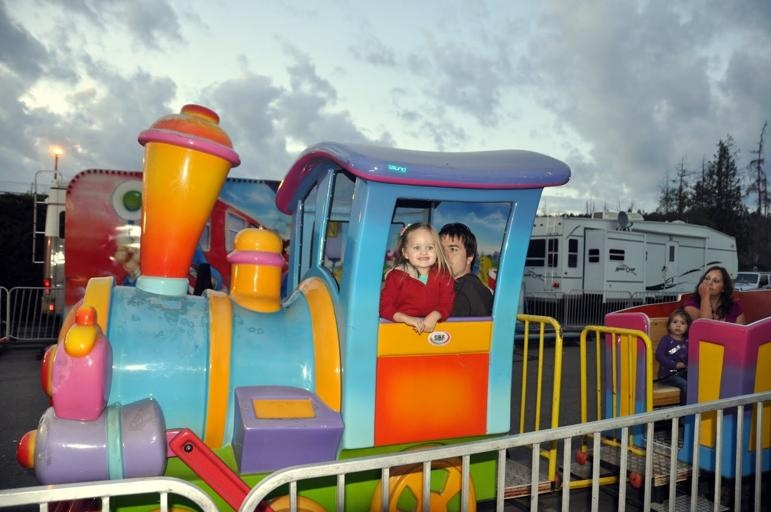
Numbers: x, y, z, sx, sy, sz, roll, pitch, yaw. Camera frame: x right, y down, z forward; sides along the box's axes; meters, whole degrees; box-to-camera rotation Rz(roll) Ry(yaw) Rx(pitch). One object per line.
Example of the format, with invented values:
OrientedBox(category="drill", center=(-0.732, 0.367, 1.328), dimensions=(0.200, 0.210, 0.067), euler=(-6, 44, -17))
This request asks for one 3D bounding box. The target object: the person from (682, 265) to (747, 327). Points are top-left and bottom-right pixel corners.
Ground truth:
OrientedBox(category="person", center=(4.014, 0.607, 6.675), dimensions=(0.690, 0.920, 0.525), euler=(6, -3, 43))

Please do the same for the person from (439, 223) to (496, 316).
OrientedBox(category="person", center=(0.628, 0.129, 4.421), dimensions=(0.387, 0.721, 0.755), euler=(7, 9, 2))
